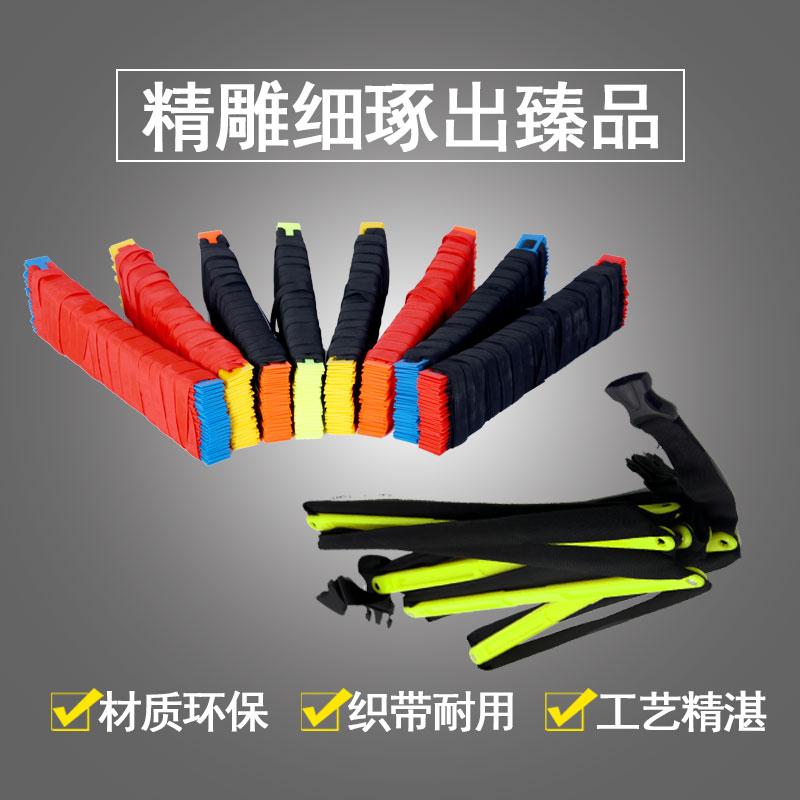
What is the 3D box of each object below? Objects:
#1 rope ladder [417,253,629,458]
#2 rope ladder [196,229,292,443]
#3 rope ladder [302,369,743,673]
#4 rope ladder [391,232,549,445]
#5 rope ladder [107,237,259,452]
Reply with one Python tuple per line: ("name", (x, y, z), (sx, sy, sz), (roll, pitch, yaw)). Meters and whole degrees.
("rope ladder", (0.709, -0.421, 6.104), (2.050, 0.621, 0.466), (-34, 51, -23))
("rope ladder", (-1.084, -0.298, 5.971), (0.494, 0.816, 1.780), (-14, 53, -12))
("rope ladder", (0.728, 0.878, 4.589), (2.346, 0.910, 1.205), (-10, 49, -4))
("rope ladder", (0.469, -0.367, 6.075), (0.407, 0.739, 1.903), (25, 55, 19))
("rope ladder", (-1.464, -0.305, 5.973), (0.487, 0.771, 2.032), (-26, 49, -24))
